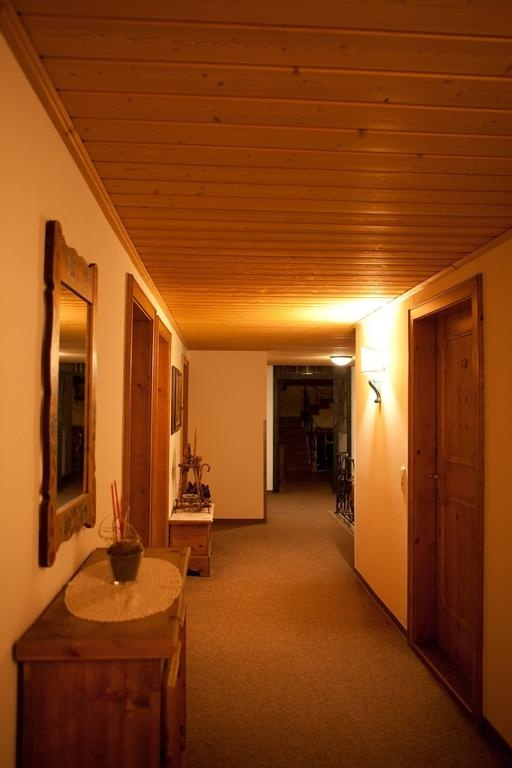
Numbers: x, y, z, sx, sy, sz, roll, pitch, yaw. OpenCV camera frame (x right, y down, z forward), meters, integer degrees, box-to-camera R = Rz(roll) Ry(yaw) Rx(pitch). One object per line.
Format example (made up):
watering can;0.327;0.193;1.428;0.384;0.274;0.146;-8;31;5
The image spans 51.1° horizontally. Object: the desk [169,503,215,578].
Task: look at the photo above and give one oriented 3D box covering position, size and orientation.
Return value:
desk;-0.660;1.543;5.013;0.327;0.503;1.235;3;-17;-9
